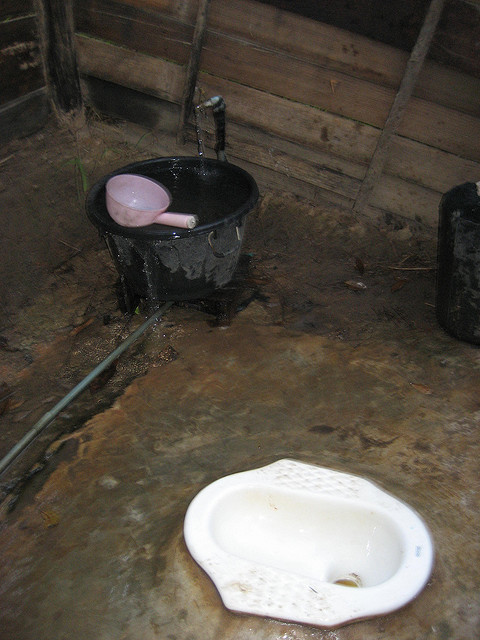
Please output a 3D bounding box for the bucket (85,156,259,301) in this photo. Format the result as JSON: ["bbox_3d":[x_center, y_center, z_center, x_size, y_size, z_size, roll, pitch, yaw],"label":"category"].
[{"bbox_3d":[-0.323,-0.415,2.903,0.723,0.484,0.629,-20,48,-22],"label":"bucket"}]

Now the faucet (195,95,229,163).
[{"bbox_3d":[-0.141,-0.967,3.190,0.194,0.454,0.124,-27,60,-15],"label":"faucet"}]
